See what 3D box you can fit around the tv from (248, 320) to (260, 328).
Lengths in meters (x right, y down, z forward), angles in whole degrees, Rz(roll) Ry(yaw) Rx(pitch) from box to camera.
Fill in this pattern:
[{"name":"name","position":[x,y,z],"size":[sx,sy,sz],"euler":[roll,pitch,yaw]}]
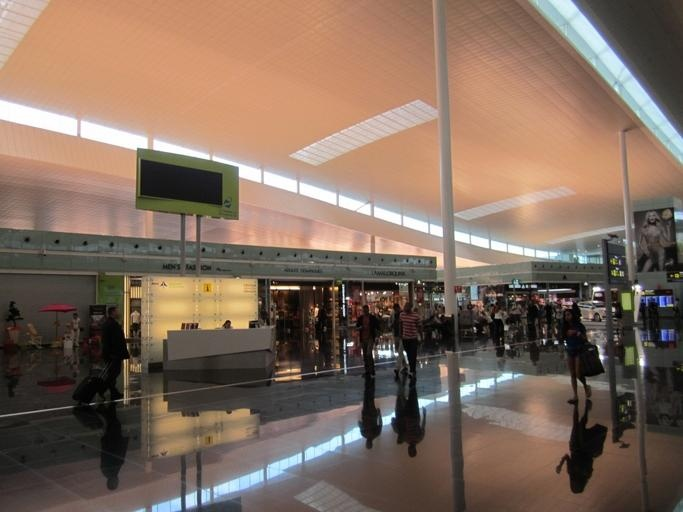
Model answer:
[{"name":"tv","position":[-3.045,2.445,17.477],"size":[0.438,0.370,0.227],"euler":[6,-16,-29]}]

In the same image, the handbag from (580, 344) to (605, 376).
[{"name":"handbag","position":[4.959,2.143,9.871],"size":[0.380,0.565,0.834],"euler":[-6,-7,24]}]

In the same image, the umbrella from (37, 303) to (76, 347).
[{"name":"umbrella","position":[-12.819,3.103,22.378],"size":[1.241,1.838,2.810],"euler":[1,-7,-30]}]

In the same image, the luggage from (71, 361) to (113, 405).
[{"name":"luggage","position":[-5.493,2.833,10.911],"size":[0.769,0.609,1.158],"euler":[-26,-3,-17]}]

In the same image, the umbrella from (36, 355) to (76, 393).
[{"name":"umbrella","position":[-7.773,3.239,13.463],"size":[0.915,0.937,0.861],"euler":[-3,-3,3]}]
